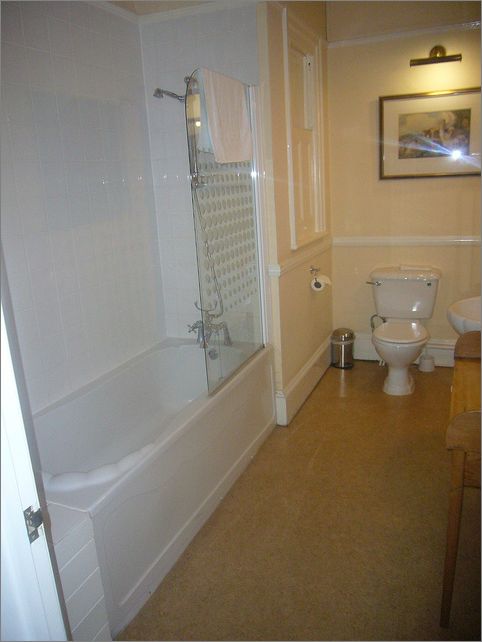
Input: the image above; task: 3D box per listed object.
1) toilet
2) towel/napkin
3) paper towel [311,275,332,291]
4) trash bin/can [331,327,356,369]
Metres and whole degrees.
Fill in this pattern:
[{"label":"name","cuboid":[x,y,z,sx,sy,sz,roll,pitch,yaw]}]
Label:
[{"label":"toilet","cuboid":[1.133,0.055,3.387,0.484,0.817,0.631,2,11,26]},{"label":"towel/napkin","cuboid":[-0.046,-0.906,2.174,0.017,0.385,0.431,-1,14,27]},{"label":"paper towel","cuboid":[0.542,-0.247,3.276,0.098,0.125,0.102,17,4,8]},{"label":"trash bin/can","cuboid":[0.812,0.210,3.831,0.203,0.320,0.167,-3,9,-3]}]
